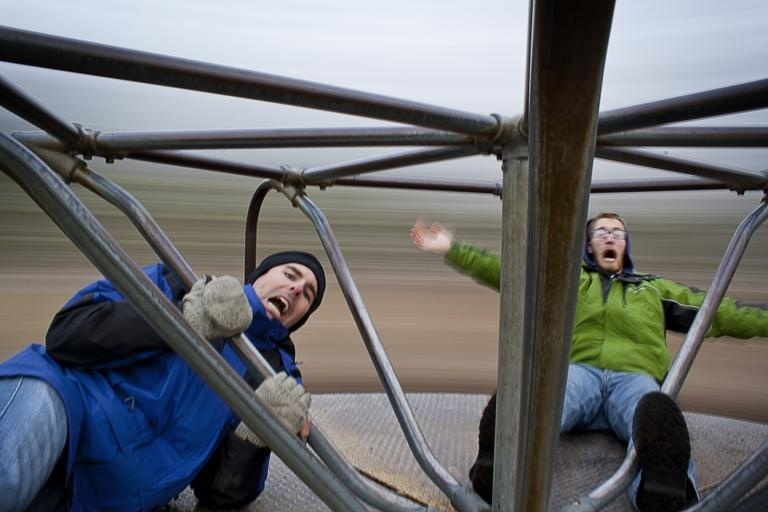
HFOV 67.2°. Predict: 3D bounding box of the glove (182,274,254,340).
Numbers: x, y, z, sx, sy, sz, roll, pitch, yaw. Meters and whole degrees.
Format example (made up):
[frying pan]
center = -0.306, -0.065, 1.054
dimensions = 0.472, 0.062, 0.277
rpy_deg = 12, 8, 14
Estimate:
[glove]
center = -0.822, 0.255, 2.884
dimensions = 0.345, 0.280, 0.345
rpy_deg = 0, -34, -36
